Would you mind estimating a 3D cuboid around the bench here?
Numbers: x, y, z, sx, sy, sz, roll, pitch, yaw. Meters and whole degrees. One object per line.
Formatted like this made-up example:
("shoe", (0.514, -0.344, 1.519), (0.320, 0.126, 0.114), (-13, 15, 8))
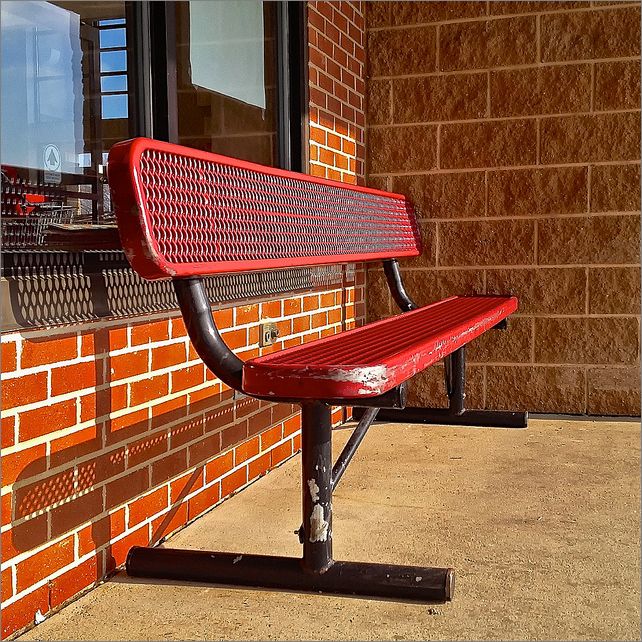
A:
("bench", (0.178, 0.013, 1.939), (0.605, 0.929, 1.660), (-9, 1, 25))
